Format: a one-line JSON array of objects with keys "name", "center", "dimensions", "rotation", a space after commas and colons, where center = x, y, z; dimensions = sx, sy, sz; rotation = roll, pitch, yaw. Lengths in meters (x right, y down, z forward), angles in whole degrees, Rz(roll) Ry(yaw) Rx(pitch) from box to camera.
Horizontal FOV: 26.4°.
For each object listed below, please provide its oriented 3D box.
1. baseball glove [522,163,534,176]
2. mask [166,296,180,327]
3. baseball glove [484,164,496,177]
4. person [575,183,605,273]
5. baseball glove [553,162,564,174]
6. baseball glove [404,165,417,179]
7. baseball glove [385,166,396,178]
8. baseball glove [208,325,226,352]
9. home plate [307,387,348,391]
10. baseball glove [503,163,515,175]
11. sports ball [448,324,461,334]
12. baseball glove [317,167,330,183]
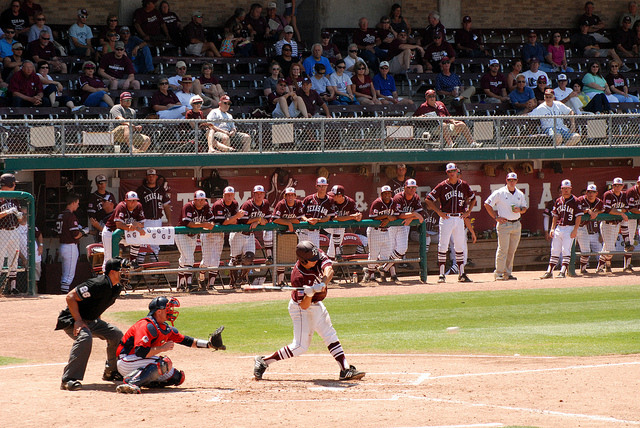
[{"name": "baseball glove", "center": [5.875, -1.282, 38.754], "dimensions": [0.321, 0.339, 0.254], "rotation": [-19, 3, -34]}, {"name": "mask", "center": [-2.962, 1.909, 27.221], "dimensions": [0.446, 0.434, 0.332], "rotation": [8, 5, -6]}, {"name": "baseball glove", "center": [4.783, -1.232, 38.386], "dimensions": [0.347, 0.326, 0.175], "rotation": [0, -2, -34]}, {"name": "person", "center": [6.977, 0.323, 36.041], "dimensions": [0.853, 2.411, 0.697], "rotation": [1, 1, 35]}, {"name": "baseball glove", "center": [6.791, -1.330, 38.948], "dimensions": [0.308, 0.315, 0.194], "rotation": [-1, -1, 0]}, {"name": "baseball glove", "center": [2.468, -1.177, 37.584], "dimensions": [0.218, 0.361, 0.542], "rotation": [-1, -2, 18]}, {"name": "baseball glove", "center": [1.902, -1.157, 37.434], "dimensions": [0.323, 0.310, 0.162], "rotation": [-2, -2, 44]}, {"name": "baseball glove", "center": [-2.091, 2.482, 27.270], "dimensions": [0.321, 0.479, 0.766], "rotation": [0, -2, -5]}, {"name": "home plate", "center": [0.149, 3.460, 27.014], "dimensions": [0.695, 0.047, 0.165], "rotation": [-1, -2, 0]}, {"name": "baseball glove", "center": [5.322, -1.309, 38.562], "dimensions": [0.315, 0.261, 0.195], "rotation": [-1, -1, 7]}, {"name": "sports ball", "center": [2.996, 2.573, 30.526], "dimensions": [0.277, 0.165, 0.559], "rotation": [-1, -2, 6]}, {"name": "baseball glove", "center": [0.073, -1.074, 36.971], "dimensions": [0.298, 0.377, 0.140], "rotation": [5, -1, 5]}]
